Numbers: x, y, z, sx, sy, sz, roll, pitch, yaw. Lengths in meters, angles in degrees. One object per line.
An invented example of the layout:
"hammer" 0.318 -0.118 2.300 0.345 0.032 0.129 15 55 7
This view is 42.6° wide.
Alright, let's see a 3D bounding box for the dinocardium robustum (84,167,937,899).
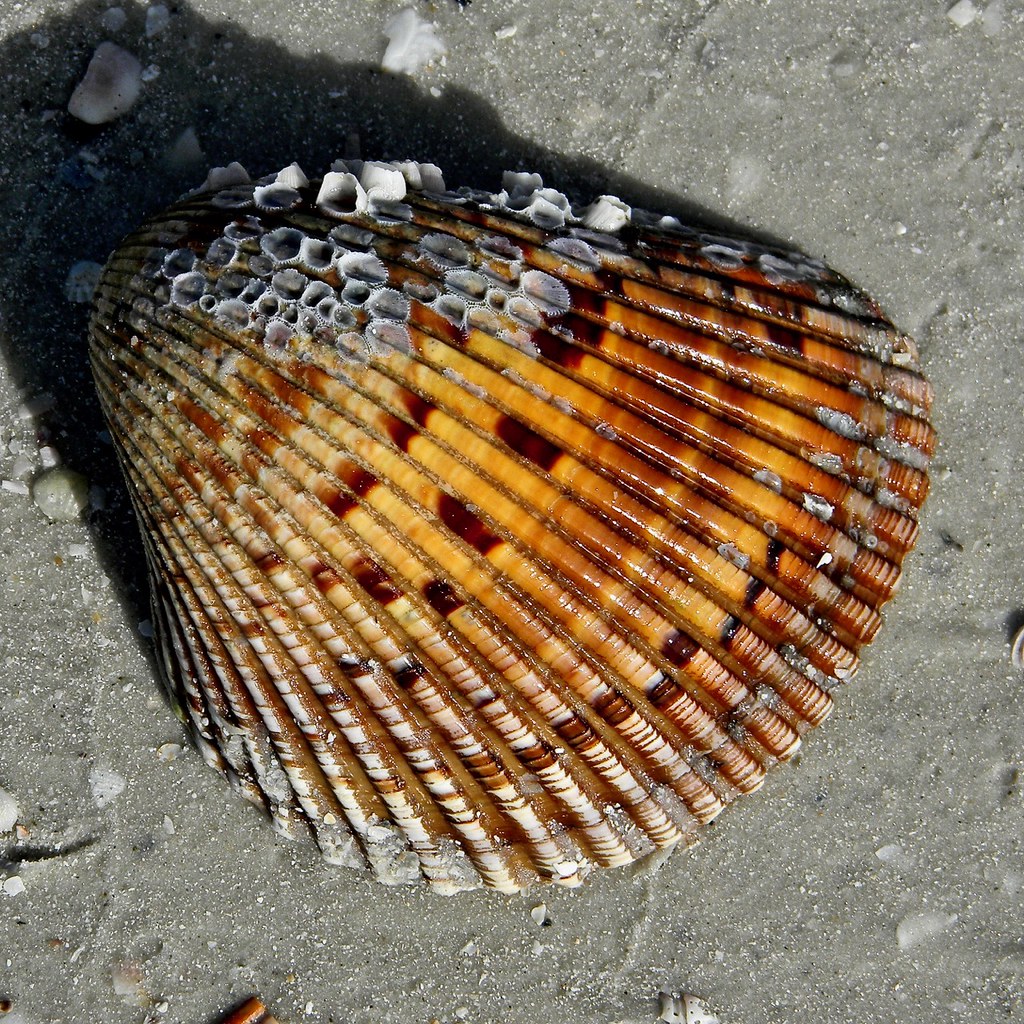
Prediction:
"dinocardium robustum" 0.068 0.037 2.480 1.568 0.407 1.345 25 85 -9
